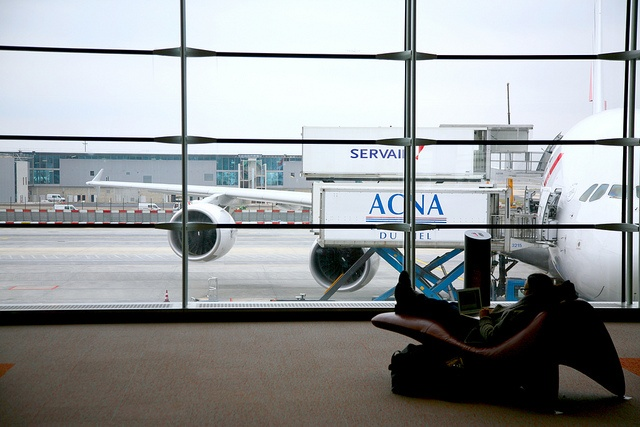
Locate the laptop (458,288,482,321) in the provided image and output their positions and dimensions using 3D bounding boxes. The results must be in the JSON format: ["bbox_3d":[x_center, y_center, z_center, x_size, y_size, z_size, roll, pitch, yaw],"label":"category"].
[{"bbox_3d":[1.519,0.914,6.381,0.340,0.307,0.252,-1,-2,-1],"label":"laptop"}]

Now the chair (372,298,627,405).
[{"bbox_3d":[1.704,1.394,6.203,1.852,0.714,1.188,-2,-3,3],"label":"chair"}]
